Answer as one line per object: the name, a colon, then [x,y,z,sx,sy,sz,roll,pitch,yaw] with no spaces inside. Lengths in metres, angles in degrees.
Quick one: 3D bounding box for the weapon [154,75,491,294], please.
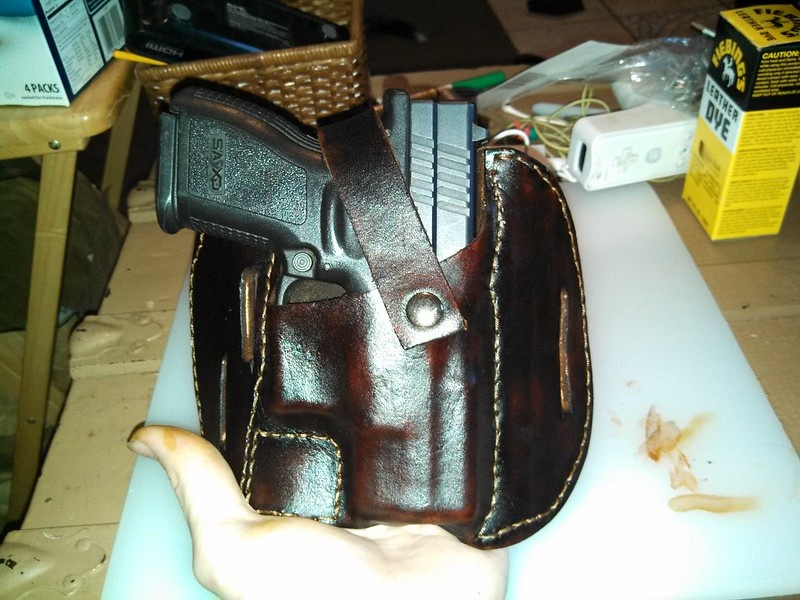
weapon: [-0.113,-0.160,0.953,0.416,0.201,0.247,5,53,13]
